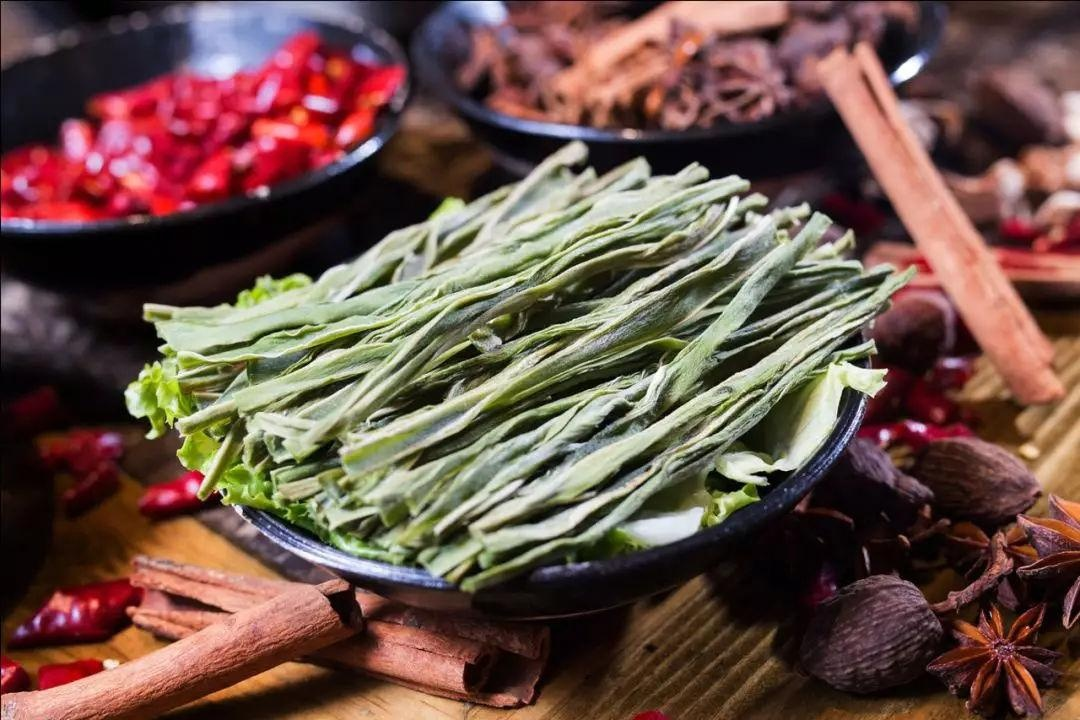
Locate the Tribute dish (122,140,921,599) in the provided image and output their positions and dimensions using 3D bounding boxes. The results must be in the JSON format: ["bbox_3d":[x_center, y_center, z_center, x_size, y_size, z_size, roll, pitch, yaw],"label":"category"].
[{"bbox_3d":[0.004,0.025,1.177,0.735,0.250,0.613,-18,34,-17],"label":"Tribute dish"}]
